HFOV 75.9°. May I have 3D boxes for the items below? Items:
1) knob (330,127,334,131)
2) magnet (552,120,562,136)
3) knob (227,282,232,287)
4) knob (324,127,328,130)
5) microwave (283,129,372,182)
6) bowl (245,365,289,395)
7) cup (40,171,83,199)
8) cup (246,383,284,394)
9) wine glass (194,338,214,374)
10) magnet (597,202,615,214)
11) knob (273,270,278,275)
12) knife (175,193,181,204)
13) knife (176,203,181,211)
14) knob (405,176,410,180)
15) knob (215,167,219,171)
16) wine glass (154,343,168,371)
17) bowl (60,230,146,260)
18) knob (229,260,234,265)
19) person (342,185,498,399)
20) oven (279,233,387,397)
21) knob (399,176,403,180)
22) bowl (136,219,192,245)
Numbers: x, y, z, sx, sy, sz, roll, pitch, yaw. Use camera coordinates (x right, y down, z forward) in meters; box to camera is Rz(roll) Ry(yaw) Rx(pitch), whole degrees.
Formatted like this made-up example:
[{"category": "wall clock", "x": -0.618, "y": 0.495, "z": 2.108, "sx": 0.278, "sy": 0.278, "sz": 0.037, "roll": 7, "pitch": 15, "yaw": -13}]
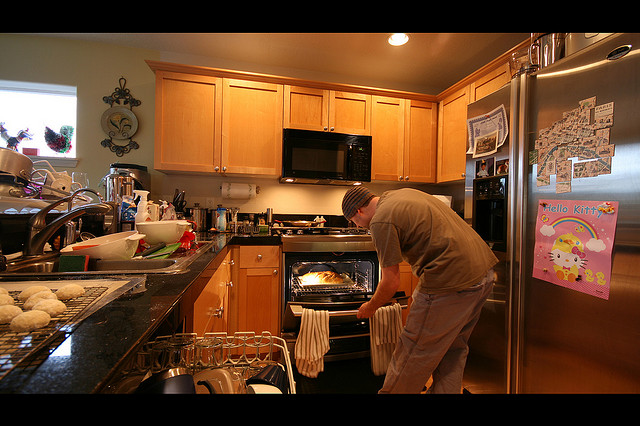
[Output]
[{"category": "knob", "x": 0.102, "y": -0.733, "z": 3.580, "sx": 0.032, "sy": 0.029, "sz": 0.023, "roll": 0, "pitch": 1, "yaw": -4}, {"category": "magnet", "x": 1.235, "y": -0.454, "z": 2.161, "sx": 0.015, "sy": 0.061, "sz": 0.063, "roll": 3, "pitch": -8, "yaw": -10}, {"category": "knob", "x": -0.643, "y": 0.500, "z": 2.904, "sx": 0.046, "sy": 0.030, "sz": 0.024, "roll": 0, "pitch": -3, "yaw": -5}, {"category": "knob", "x": 0.042, "y": -0.731, "z": 3.552, "sx": 0.028, "sy": 0.026, "sz": 0.015, "roll": 1, "pitch": 12, "yaw": 1}, {"category": "microwave", "x": 0.008, "y": -0.485, "z": 3.659, "sx": 0.843, "sy": 0.390, "sz": 0.381, "roll": 0, "pitch": 6, "yaw": -20}, {"category": "bowl", "x": -0.188, "y": 0.625, "z": 1.573, "sx": 0.106, "sy": 0.042, "sz": 0.144, "roll": 6, "pitch": -12, "yaw": 1}, {"category": "cup", "x": -1.649, "y": -0.171, "z": 2.636, "sx": 0.175, "sy": 0.155, "sz": 0.096, "roll": -3, "pitch": 21, "yaw": -28}, {"category": "cup", "x": -0.212, "y": 0.655, "z": 1.519, "sx": 0.124, "sy": 0.033, "sz": 0.060, "roll": -1, "pitch": 6, "yaw": -9}, {"category": "wine glass", "x": -0.480, "y": 0.582, "z": 1.687, "sx": 0.074, "sy": 0.096, "sz": 0.178, "roll": -2, "pitch": 6, "yaw": -15}, {"category": "magnet", "x": 1.373, "y": -0.024, "z": 1.975, "sx": 0.050, "sy": 0.024, "sz": 0.049, "roll": -13, "pitch": 11, "yaw": -11}, {"category": "knob", "x": -0.340, "y": 0.446, "z": 3.088, "sx": 0.033, "sy": 0.034, "sz": 0.012, "roll": -1, "pitch": 6, "yaw": -6}, {"category": "knife", "x": -1.189, "y": -0.121, "z": 3.419, "sx": 0.024, "sy": 0.065, "sz": 0.063, "roll": 1, "pitch": 6, "yaw": 11}, {"category": "knife", "x": -1.186, "y": -0.057, "z": 3.442, "sx": 0.010, "sy": 0.040, "sz": 0.040, "roll": 22, "pitch": -15, "yaw": 4}, {"category": "knob", "x": 0.806, "y": -0.327, "z": 3.819, "sx": 0.044, "sy": 0.029, "sz": 0.011, "roll": -3, "pitch": 6, "yaw": -27}, {"category": "knob", "x": -0.854, "y": -0.367, "z": 3.373, "sx": 0.030, "sy": 0.023, "sz": 0.032, "roll": 1, "pitch": 10, "yaw": 4}, {"category": "wine glass", "x": -0.648, "y": 0.581, "z": 1.667, "sx": 0.044, "sy": 0.087, "sz": 0.110, "roll": -4, "pitch": 7, "yaw": -31}, {"category": "bowl", "x": -0.985, "y": 0.176, "z": 1.956, "sx": 0.300, "sy": 0.102, "sz": 0.195, "roll": -9, "pitch": -2, "yaw": 21}, {"category": "knob", "x": -0.647, "y": 0.358, "z": 2.978, "sx": 0.045, "sy": 0.043, "sz": 0.071, "roll": 1, "pitch": 5, "yaw": -12}, {"category": "person", "x": 0.584, "y": 0.510, "z": 2.433, "sx": 0.934, "sy": 1.279, "sz": 0.560, "roll": -3, "pitch": 2, "yaw": 21}, {"category": "oven", "x": -0.106, "y": 0.644, "z": 3.013, "sx": 0.744, "sy": 0.960, "sz": 1.144, "roll": -1, "pitch": 1, "yaw": -13}, {"category": "knob", "x": 0.744, "y": -0.326, "z": 3.796, "sx": 0.029, "sy": 0.046, "sz": 0.026, "roll": 2, "pitch": 16, "yaw": 6}, {"category": "bowl", "x": -0.857, "y": 0.115, "z": 2.223, "sx": 0.328, "sy": 0.121, "sz": 0.216, "roll": -4, "pitch": 4, "yaw": 11}]
